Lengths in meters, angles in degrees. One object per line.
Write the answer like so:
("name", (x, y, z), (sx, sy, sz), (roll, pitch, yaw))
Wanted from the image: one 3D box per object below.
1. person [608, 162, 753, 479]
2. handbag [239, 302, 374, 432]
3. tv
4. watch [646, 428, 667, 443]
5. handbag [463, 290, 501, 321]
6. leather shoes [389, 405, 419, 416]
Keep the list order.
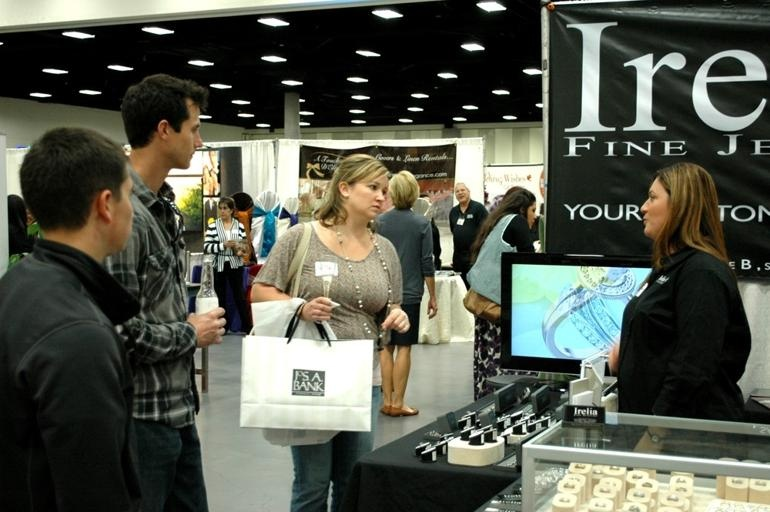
("person", (1.139, 0.126, 2.532), (0.440, 1.010, 0.409), (-1, 2, -33))
("handbag", (-0.305, 0.452, 2.528), (0.528, 0.517, 0.181), (2, 2, 1))
("tv", (0.928, 0.256, 3.356), (0.620, 0.538, 0.625), (2, -4, 12))
("watch", (0.786, 0.520, 1.853), (0.030, 0.029, 0.039), (4, -18, 10))
("handbag", (0.675, 0.350, 4.420), (0.207, 0.084, 0.209), (32, -3, 18))
("leather shoes", (0.165, 1.295, 5.410), (0.198, 0.083, 0.103), (-3, -1, -10))
